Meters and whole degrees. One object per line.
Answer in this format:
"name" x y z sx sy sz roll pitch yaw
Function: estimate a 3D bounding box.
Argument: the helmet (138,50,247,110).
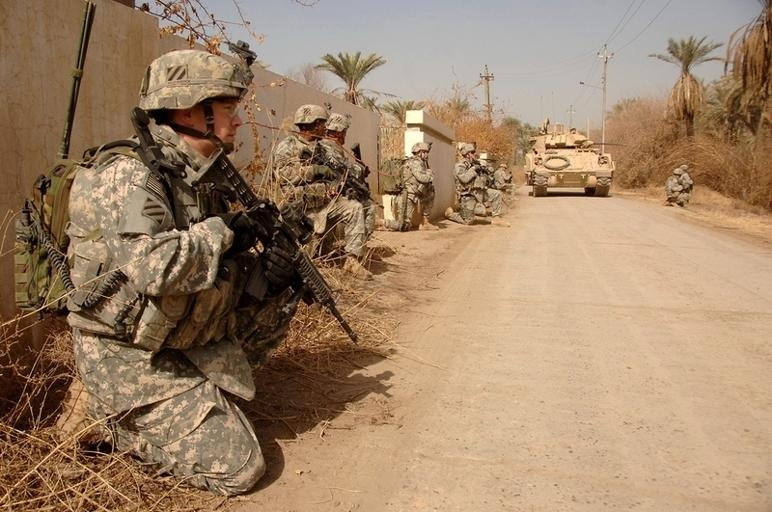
"helmet" -1.296 -1.192 4.269 0.552 0.300 0.423 4 16 -5

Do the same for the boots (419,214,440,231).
"boots" 0.879 -0.700 12.787 0.438 0.398 0.225 -9 18 -12

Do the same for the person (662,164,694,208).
"person" 7.703 -1.872 16.738 0.565 1.111 0.993 3 12 22

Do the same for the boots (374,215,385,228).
"boots" -0.124 -0.678 12.404 0.159 0.085 0.237 7 19 0

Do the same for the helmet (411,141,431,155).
"helmet" 0.671 -2.104 12.292 0.302 0.202 0.227 25 24 24

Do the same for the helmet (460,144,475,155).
"helmet" 1.731 -2.304 13.634 0.280 0.255 0.216 -25 2 22

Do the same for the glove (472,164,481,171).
"glove" 1.941 -1.890 13.489 0.172 0.046 0.167 -12 7 -22

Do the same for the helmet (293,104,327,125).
"helmet" -0.917 -1.703 7.650 0.340 0.201 0.236 1 13 -10

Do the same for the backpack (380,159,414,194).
"backpack" 0.177 -1.506 11.945 0.468 0.634 0.737 0 11 7

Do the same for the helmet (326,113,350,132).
"helmet" -0.614 -1.748 8.337 0.224 0.153 0.317 9 10 5

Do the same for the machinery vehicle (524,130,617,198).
"machinery vehicle" 6.192 -3.138 22.548 2.667 2.197 4.435 -1 12 3
